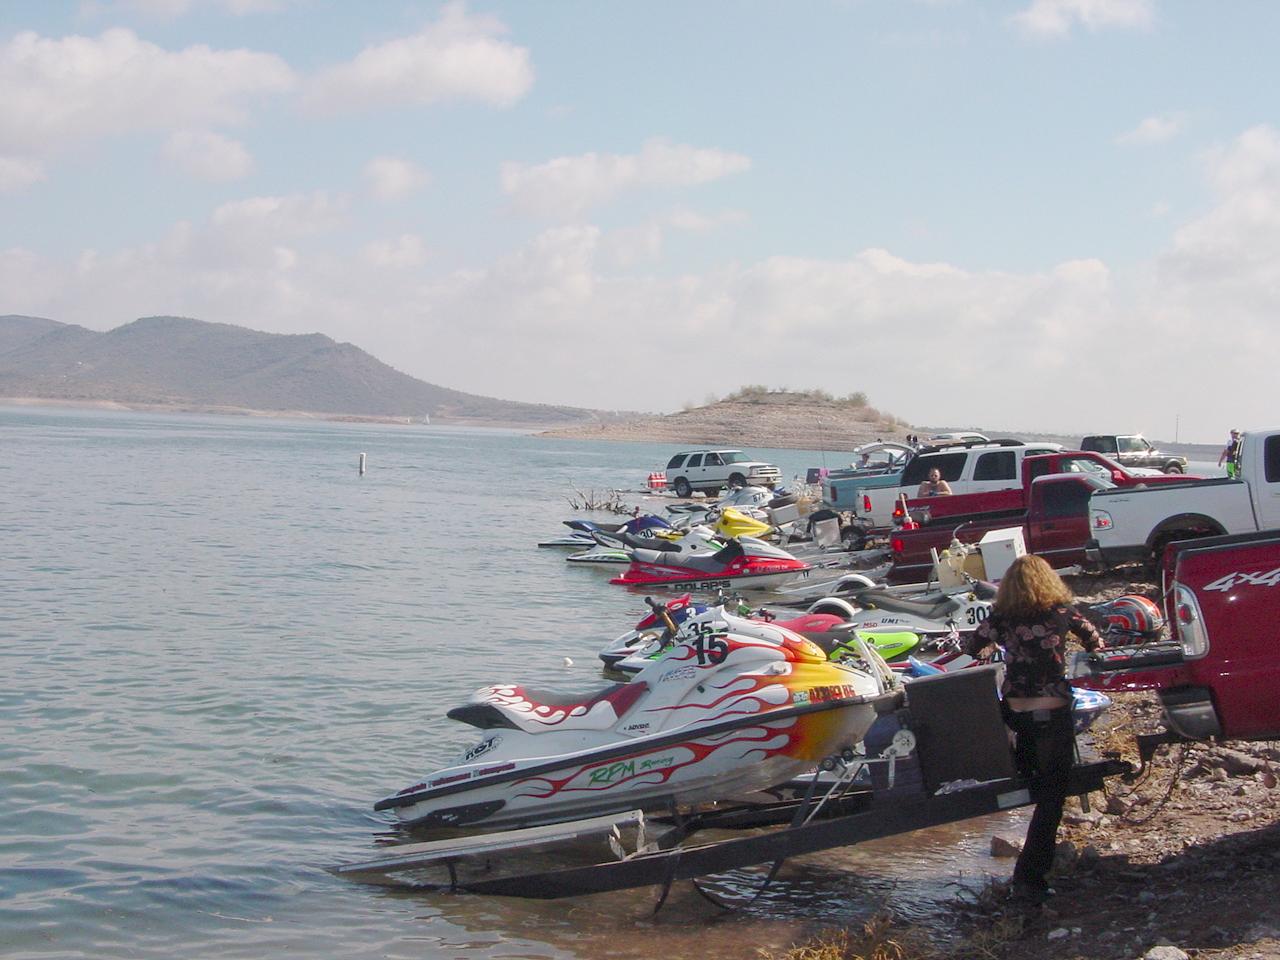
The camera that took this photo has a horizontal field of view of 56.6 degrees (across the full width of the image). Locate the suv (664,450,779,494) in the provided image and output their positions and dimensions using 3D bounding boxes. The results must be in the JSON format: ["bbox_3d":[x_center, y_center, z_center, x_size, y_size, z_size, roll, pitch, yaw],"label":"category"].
[{"bbox_3d":[4.095,-0.300,62.992,5.255,2.446,2.597,0,-5,36],"label":"suv"}]

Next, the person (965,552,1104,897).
[{"bbox_3d":[3.623,2.273,10.940,1.002,3.143,0.408,4,-5,10],"label":"person"}]

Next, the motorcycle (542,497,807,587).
[{"bbox_3d":[0.755,1.863,28.311,6.237,1.104,1.910,-2,5,10],"label":"motorcycle"}]
